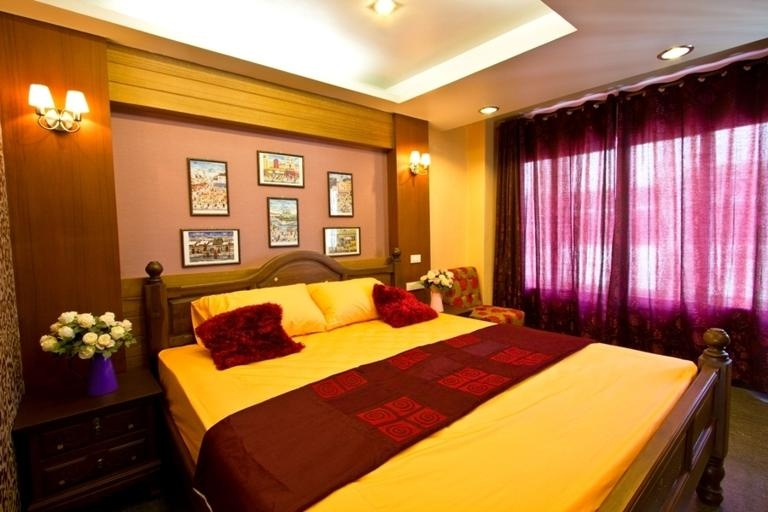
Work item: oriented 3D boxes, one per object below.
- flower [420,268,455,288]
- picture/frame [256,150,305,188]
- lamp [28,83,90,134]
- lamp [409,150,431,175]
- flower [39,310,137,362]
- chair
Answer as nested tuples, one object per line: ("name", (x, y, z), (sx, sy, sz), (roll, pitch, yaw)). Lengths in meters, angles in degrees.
("flower", (0.596, 0.266, 5.407), (0.254, 0.093, 0.242), (2, 11, -3))
("picture/frame", (-1.008, -0.824, 4.690), (0.428, 0.278, 0.030), (-3, 9, -35))
("lamp", (-2.461, -1.100, 3.669), (0.206, 0.340, 0.409), (6, 9, 43))
("lamp", (0.395, -1.033, 5.476), (0.178, 0.252, 0.320), (1, 6, 38))
("flower", (-2.147, 0.576, 3.579), (0.473, 0.274, 0.464), (8, 4, 14))
("chair", (1.159, 0.543, 5.895), (0.814, 0.785, 0.794), (2, 5, 43))
